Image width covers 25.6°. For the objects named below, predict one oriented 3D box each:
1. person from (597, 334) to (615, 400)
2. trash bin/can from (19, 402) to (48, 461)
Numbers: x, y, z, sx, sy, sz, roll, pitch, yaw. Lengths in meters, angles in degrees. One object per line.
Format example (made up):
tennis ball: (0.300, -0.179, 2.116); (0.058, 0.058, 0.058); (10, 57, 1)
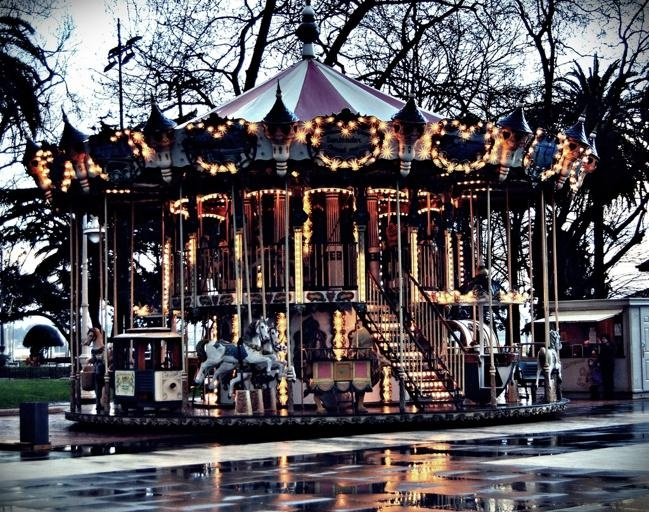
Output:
person: (8.579, 3.400, 43.490); (0.429, 1.903, 0.908); (-4, -7, 10)
trash bin/can: (-5.994, 3.606, 29.401); (0.463, 1.033, 0.681); (-4, 3, -43)
